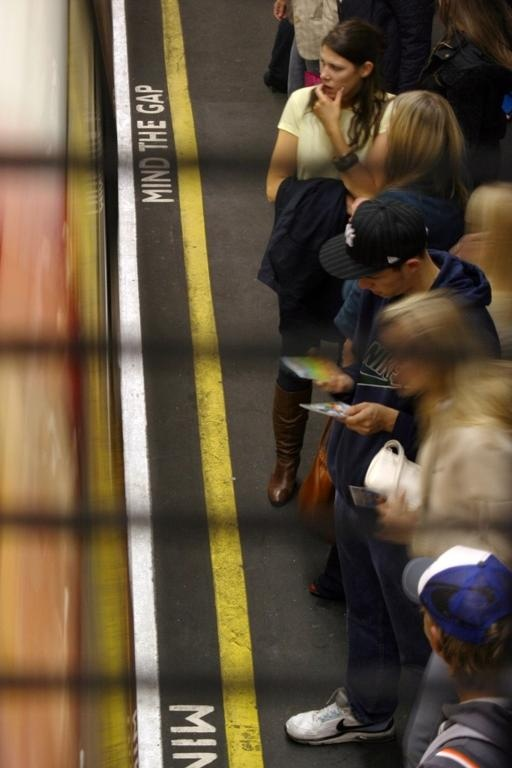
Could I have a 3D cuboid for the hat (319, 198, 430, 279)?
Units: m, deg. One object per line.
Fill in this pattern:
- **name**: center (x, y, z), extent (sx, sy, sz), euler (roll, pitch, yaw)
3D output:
- **hat**: center (0.316, -0.418, 2.020), extent (0.295, 0.172, 0.241), euler (-10, 46, 5)
